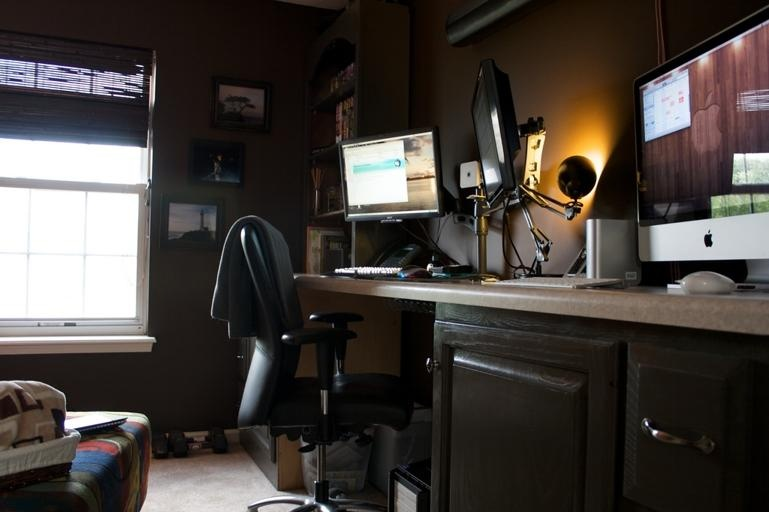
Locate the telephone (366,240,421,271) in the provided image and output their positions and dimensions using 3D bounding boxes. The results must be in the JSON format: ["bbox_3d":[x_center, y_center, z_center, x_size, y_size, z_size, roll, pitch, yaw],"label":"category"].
[{"bbox_3d":[0.082,-0.014,3.404,0.135,0.069,0.263,-8,20,32],"label":"telephone"}]

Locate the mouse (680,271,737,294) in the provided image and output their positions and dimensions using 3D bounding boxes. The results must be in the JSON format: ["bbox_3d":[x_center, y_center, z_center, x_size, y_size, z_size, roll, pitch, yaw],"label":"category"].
[{"bbox_3d":[0.922,0.056,1.647,0.092,0.057,0.079,-6,13,-20],"label":"mouse"}]

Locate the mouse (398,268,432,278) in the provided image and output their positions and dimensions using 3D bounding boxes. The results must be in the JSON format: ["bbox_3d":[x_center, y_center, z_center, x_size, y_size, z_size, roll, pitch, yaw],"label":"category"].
[{"bbox_3d":[0.135,0.082,2.668,0.085,0.032,0.064,-3,1,-9],"label":"mouse"}]

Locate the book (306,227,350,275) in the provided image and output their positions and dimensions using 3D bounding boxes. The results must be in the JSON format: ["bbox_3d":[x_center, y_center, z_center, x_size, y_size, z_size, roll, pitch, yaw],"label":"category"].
[{"bbox_3d":[-0.425,-0.034,3.972,0.259,0.371,0.363,-1,-5,37],"label":"book"}]
